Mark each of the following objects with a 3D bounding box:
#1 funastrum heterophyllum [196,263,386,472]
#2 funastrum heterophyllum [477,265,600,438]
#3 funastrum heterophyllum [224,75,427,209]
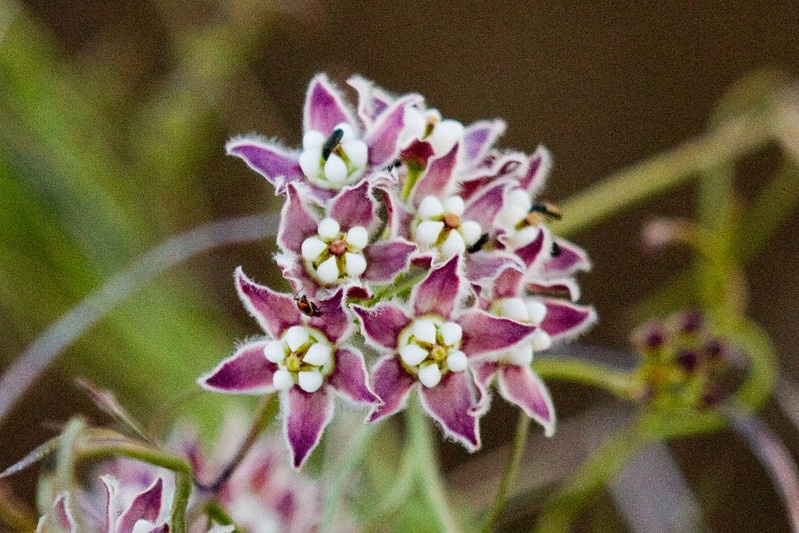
[{"bbox_3d":[-0.231,0.220,2.253,0.144,0.442,0.488,-3,-11,-20],"label":"funastrum heterophyllum"},{"bbox_3d":[0.280,0.179,2.272,0.136,0.352,0.319,5,-6,37],"label":"funastrum heterophyllum"},{"bbox_3d":[-0.169,-0.314,2.356,0.452,0.128,0.479,-31,-9,0],"label":"funastrum heterophyllum"}]
